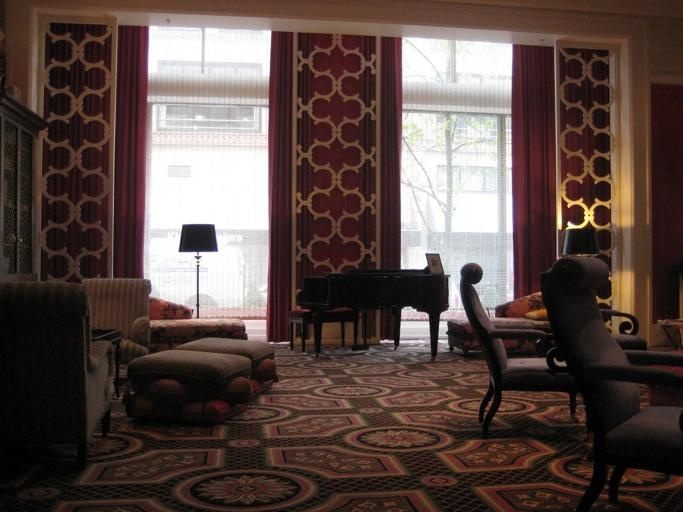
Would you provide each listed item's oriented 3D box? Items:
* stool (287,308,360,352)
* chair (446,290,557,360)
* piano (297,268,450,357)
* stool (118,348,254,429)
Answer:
[{"bbox_3d":[-0.009,0.928,8.031,0.669,0.385,0.503,-10,-15,29],"label":"stool"},{"bbox_3d":[1.953,0.918,7.636,1.039,0.751,1.029,1,-3,-1],"label":"chair"},{"bbox_3d":[0.491,0.756,7.408,1.203,0.834,1.304,0,1,-10],"label":"piano"},{"bbox_3d":[-1.189,1.013,4.746,0.664,0.310,0.621,3,-7,-27],"label":"stool"}]
